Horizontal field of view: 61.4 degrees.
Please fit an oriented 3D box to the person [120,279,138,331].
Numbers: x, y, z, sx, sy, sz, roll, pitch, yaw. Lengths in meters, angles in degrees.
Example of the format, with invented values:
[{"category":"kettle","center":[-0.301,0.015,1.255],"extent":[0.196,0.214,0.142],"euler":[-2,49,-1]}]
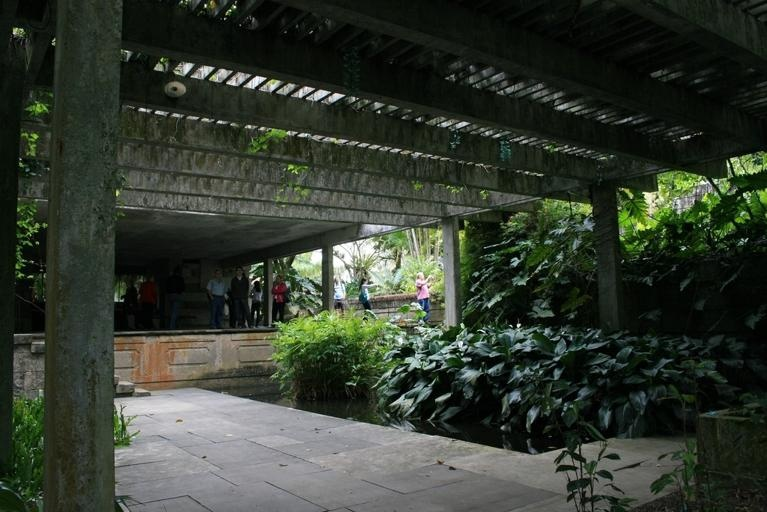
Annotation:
[{"category":"person","center":[-7.049,1.405,17.981],"extent":[0.380,1.209,0.901],"euler":[4,-7,-21]}]
